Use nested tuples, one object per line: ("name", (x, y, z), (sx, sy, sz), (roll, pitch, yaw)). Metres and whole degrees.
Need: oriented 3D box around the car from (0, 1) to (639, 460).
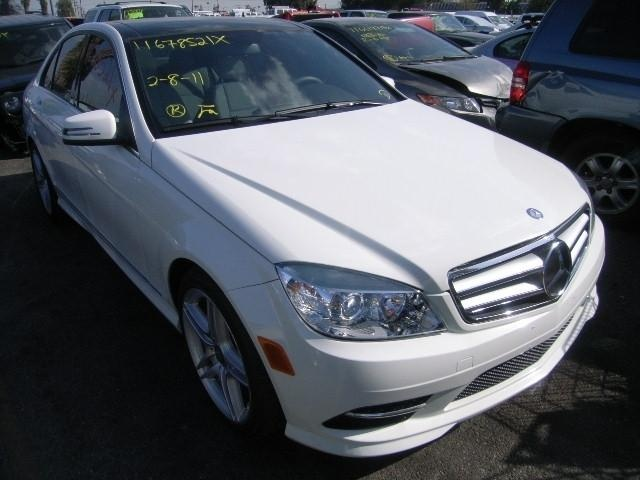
("car", (-0.656, -0.405, 3.225), (2.160, 1.424, 4.359), (-24, 41, -31))
